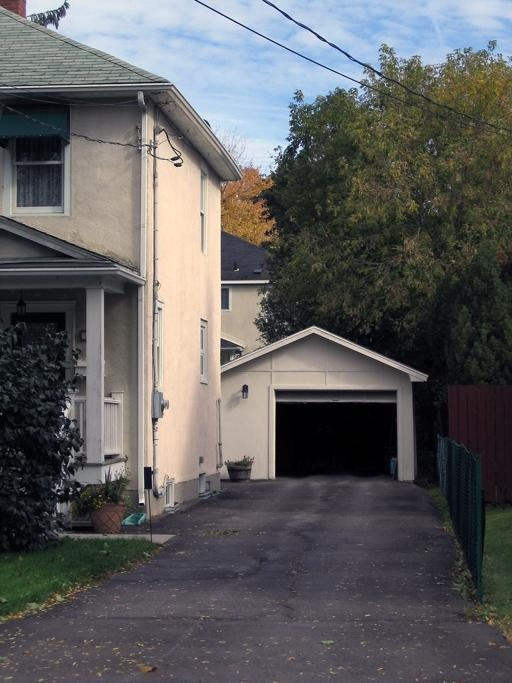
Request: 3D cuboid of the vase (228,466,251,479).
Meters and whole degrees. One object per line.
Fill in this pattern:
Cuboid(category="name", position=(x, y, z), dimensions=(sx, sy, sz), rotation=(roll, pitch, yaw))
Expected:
Cuboid(category="vase", position=(-0.420, 3.215, 29.134), dimensions=(0.331, 0.263, 0.341), rotation=(-4, -8, 18))

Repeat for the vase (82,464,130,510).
Cuboid(category="vase", position=(-2.076, 1.980, 16.402), dimensions=(0.358, 0.451, 0.537), rotation=(2, 10, 1))

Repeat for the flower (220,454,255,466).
Cuboid(category="flower", position=(-0.409, 2.947, 29.538), dimensions=(0.697, 0.240, 0.795), rotation=(2, -2, -1))

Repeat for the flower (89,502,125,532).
Cuboid(category="flower", position=(-1.987, 2.388, 16.001), dimensions=(0.325, 0.318, 0.380), rotation=(0, -16, -2))

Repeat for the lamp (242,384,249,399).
Cuboid(category="lamp", position=(-0.266, 1.271, 30.076), dimensions=(0.192, 0.341, 0.221), rotation=(2, -1, -10))
